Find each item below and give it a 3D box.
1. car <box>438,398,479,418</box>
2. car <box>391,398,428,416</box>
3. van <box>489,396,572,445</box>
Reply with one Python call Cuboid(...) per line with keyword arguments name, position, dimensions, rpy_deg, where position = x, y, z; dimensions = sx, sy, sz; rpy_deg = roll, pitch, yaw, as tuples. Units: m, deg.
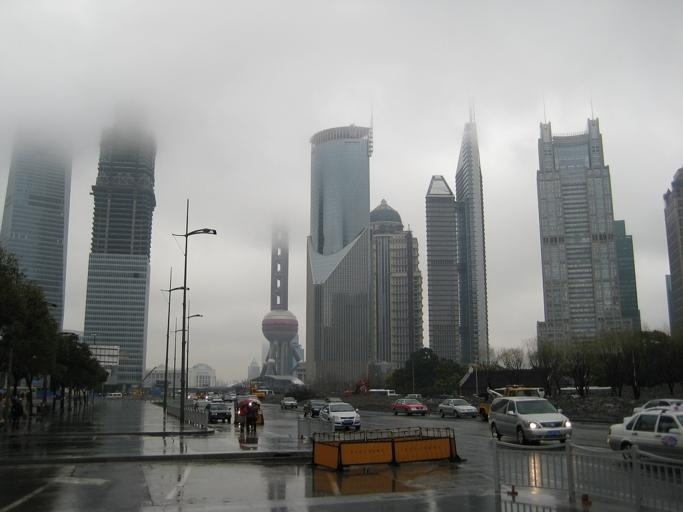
Cuboid(name="car", position=(8.826, 11.796, 54.566), dimensions=(1.934, 1.531, 3.931), rpy_deg=(1, -13, -10))
Cuboid(name="car", position=(5.817, 13.162, 60.986), dimensions=(1.519, 1.003, 3.393), rpy_deg=(2, -14, -16))
Cuboid(name="van", position=(8.293, 7.176, 31.721), dimensions=(2.452, 1.753, 4.500), rpy_deg=(2, -18, -13))
